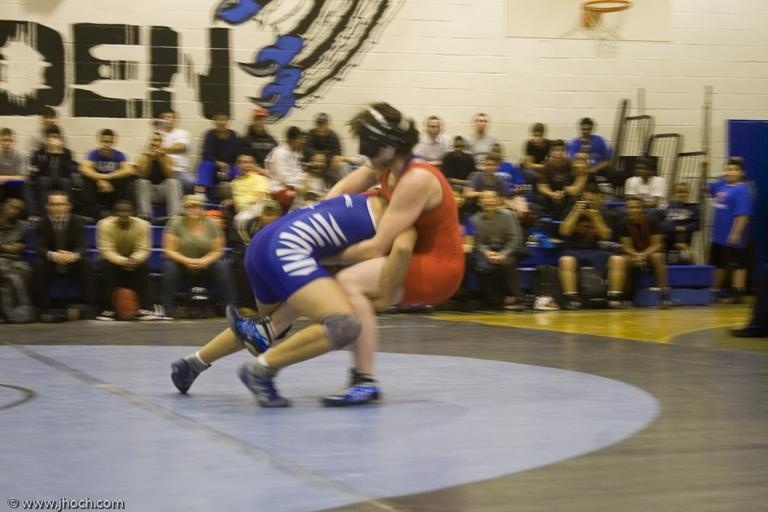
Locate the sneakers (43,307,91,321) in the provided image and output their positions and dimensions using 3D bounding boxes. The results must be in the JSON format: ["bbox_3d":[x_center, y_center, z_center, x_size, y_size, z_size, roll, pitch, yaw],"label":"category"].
[{"bbox_3d":[-2.912,0.519,7.397,0.236,0.119,0.402,3,4,28],"label":"sneakers"}]

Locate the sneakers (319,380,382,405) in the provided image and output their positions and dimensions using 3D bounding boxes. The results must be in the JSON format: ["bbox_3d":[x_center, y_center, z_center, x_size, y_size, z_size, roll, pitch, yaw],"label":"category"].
[{"bbox_3d":[-0.136,0.670,3.972,0.329,0.089,0.098,1,-6,-15],"label":"sneakers"}]

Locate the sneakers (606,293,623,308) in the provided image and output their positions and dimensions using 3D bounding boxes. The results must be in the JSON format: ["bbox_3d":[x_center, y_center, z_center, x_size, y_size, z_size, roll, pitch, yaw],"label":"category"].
[{"bbox_3d":[2.616,0.497,9.207,0.247,0.147,0.194,1,-6,-5],"label":"sneakers"}]

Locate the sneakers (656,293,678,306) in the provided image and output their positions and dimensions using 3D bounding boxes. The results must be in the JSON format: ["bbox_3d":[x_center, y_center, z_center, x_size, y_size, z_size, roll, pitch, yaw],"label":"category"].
[{"bbox_3d":[3.331,0.511,9.598,0.172,0.095,0.088,14,-38,-32],"label":"sneakers"}]

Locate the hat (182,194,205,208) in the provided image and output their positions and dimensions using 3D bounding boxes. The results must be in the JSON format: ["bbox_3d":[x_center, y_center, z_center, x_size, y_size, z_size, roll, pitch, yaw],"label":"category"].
[{"bbox_3d":[-1.798,-0.522,7.628,0.164,0.075,0.189,0,-4,-31],"label":"hat"}]

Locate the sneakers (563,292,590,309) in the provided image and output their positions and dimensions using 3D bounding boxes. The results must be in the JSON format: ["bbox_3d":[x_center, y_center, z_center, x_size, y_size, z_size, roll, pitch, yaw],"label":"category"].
[{"bbox_3d":[2.089,0.486,8.863,0.254,0.148,0.208,0,-5,11],"label":"sneakers"}]

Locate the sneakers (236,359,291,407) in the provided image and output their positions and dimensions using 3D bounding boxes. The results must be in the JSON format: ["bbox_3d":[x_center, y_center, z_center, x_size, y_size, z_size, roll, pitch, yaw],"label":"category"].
[{"bbox_3d":[-0.563,0.598,3.858,0.248,0.226,0.131,1,5,-6],"label":"sneakers"}]

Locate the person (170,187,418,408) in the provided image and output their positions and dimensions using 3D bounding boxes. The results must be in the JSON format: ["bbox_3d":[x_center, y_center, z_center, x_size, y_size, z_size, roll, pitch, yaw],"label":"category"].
[{"bbox_3d":[-0.348,0.202,3.912,0.675,1.017,0.372,2,5,-1],"label":"person"}]

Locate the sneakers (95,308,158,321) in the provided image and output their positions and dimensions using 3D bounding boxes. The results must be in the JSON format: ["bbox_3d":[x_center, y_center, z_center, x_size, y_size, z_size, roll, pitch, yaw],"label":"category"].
[{"bbox_3d":[-2.360,0.537,7.494,0.596,0.088,0.220,1,3,-6],"label":"sneakers"}]
